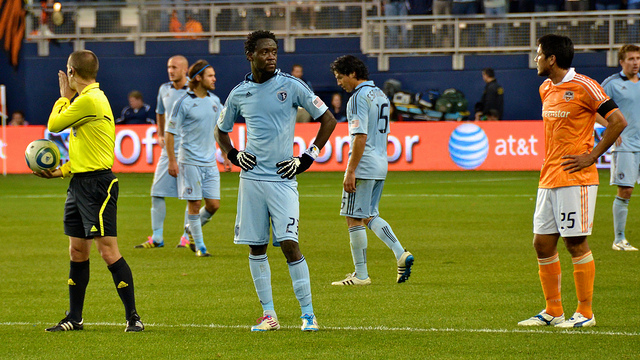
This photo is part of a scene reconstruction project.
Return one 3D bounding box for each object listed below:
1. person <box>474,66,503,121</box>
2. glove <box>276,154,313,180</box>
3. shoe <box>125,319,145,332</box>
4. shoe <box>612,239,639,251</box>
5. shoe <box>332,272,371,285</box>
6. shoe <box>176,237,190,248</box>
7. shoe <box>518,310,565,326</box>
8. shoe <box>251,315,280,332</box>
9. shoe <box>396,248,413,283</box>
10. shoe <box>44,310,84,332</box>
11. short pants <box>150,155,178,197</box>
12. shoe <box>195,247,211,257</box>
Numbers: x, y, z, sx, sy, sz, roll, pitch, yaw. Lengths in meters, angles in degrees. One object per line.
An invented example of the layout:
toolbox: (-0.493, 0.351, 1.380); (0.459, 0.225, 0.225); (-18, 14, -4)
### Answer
person: (5.558, -2.790, 38.795); (0.797, 1.712, 1.162); (0, 7, 0)
glove: (-0.550, -0.286, 25.715); (0.777, 0.544, 0.177); (0, 7, -6)
shoe: (-4.013, 3.135, 25.747); (0.407, 0.165, 0.213); (-1, 3, 19)
shoe: (7.396, 1.562, 28.772); (0.621, 0.253, 0.263); (2, 7, 15)
shoe: (0.764, 2.294, 27.600); (1.000, 0.329, 0.306); (2, -8, 0)
shoe: (-3.386, 1.544, 29.570); (0.351, 0.252, 0.213); (2, 7, 12)
shoe: (4.847, 3.031, 26.048); (1.105, 0.386, 0.351); (2, -11, 1)
shoe: (-1.158, 3.119, 25.910); (0.791, 0.304, 0.254); (0, -4, -3)
shoe: (1.960, 1.965, 27.428); (0.289, 0.724, 0.379); (-9, 27, -31)
shoe: (-5.573, 3.152, 26.001); (0.985, 0.395, 0.323); (1, -6, -3)
short pants: (-3.864, -0.089, 29.537); (0.548, 1.051, 0.780); (1, 1, 0)
shoe: (-2.830, 1.735, 28.927); (0.366, 0.216, 0.258); (-1, 7, -8)
